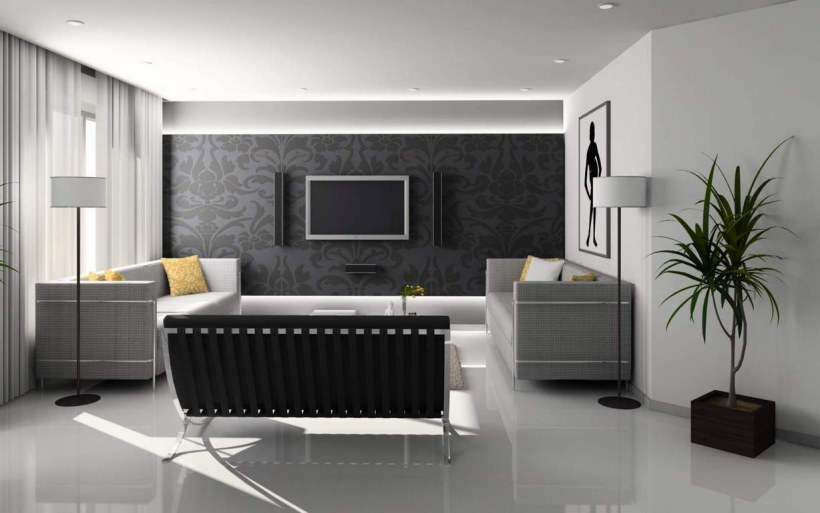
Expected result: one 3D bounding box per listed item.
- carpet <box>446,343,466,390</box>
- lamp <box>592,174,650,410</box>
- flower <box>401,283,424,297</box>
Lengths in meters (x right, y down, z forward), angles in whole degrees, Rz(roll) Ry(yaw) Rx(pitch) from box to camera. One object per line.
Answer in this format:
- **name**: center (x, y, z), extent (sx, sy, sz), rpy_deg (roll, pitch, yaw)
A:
- **carpet**: center (0.498, 1.201, 6.281), extent (0.126, 0.694, 0.722), rpy_deg (-4, 3, 9)
- **lamp**: center (2.146, 0.315, 6.061), extent (0.534, 2.285, 1.125), rpy_deg (2, 15, 6)
- **flower**: center (0.058, 0.466, 8.214), extent (0.231, 0.117, 0.228), rpy_deg (-4, -6, 30)
